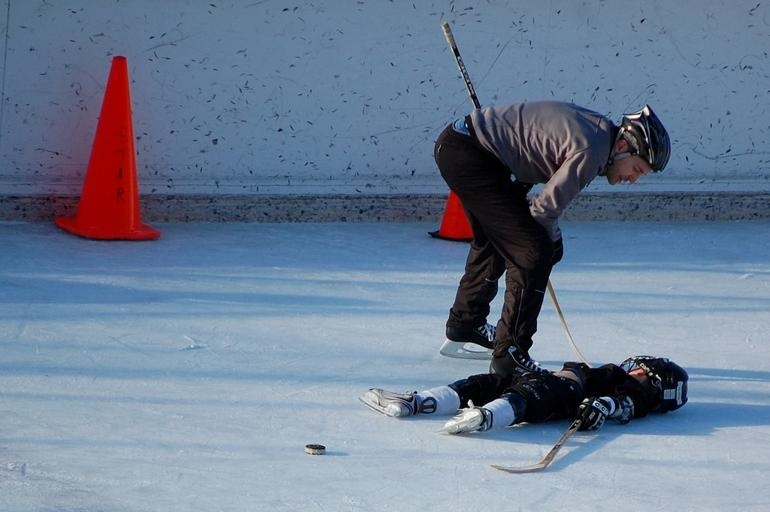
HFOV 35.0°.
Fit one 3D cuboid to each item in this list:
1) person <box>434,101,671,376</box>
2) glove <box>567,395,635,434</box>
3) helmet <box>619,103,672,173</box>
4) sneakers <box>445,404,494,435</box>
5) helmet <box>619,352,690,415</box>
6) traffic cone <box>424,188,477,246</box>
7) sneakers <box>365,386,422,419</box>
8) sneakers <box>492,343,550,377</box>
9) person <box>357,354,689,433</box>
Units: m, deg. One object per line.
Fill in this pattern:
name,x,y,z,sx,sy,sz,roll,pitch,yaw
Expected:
person,0.681,-0.058,6.466,1.362,1.334,1.576,1,-2,-3
glove,1.035,0.752,5.808,0.324,0.168,0.080,2,8,-27
helmet,1.263,-0.569,5.990,0.253,0.302,0.128,6,6,7
sneakers,0.387,0.772,5.721,0.214,0.065,0.124,-8,12,2
helmet,1.340,0.605,5.885,0.358,0.282,0.260,-15,-8,13
traffic cone,0.466,-0.245,8.437,0.434,0.346,0.314,6,12,13
sneakers,0.024,0.701,5.811,0.213,0.067,0.146,17,8,13
sneakers,0.628,0.534,6.076,0.395,0.133,0.111,-1,10,1
person,0.732,0.679,5.809,1.288,0.197,0.525,-3,-5,-8
